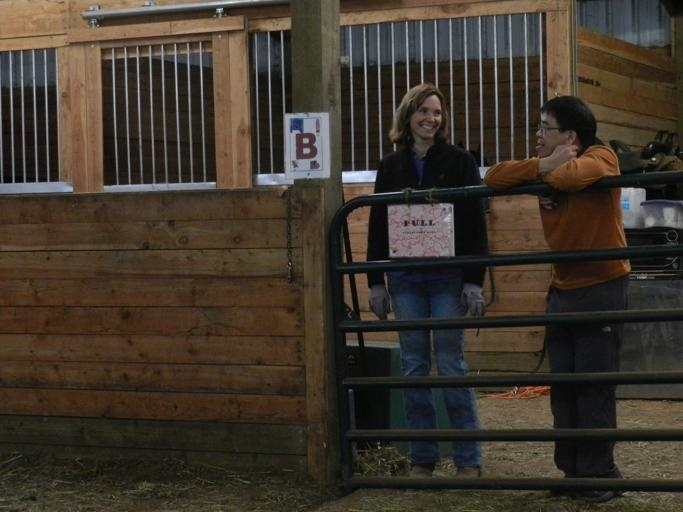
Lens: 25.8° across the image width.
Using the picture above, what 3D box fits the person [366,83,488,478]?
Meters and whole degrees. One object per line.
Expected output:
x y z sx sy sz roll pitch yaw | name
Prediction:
0.601 0.162 10.439 0.847 2.737 0.547 -2 2 5 | person

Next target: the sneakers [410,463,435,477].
0.566 1.502 10.453 0.163 0.111 0.274 -2 3 1 | sneakers

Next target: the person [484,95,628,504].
1.562 0.270 10.135 0.781 2.718 0.567 -2 2 10 | person
